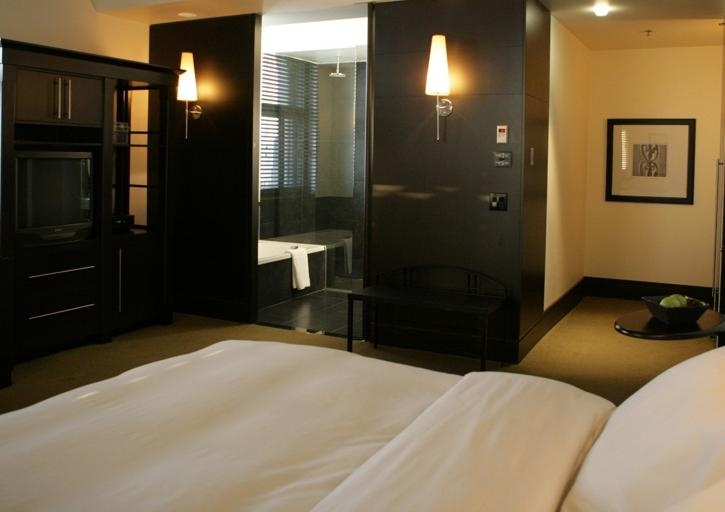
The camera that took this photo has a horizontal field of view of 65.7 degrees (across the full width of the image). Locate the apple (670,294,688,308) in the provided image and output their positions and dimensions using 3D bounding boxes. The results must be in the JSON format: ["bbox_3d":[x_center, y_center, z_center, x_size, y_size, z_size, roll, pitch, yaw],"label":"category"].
[{"bbox_3d":[1.856,0.263,3.299,0.080,0.034,0.084,-4,8,5],"label":"apple"}]

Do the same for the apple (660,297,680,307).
[{"bbox_3d":[1.812,0.262,3.294,0.075,0.032,0.077,-10,7,-10],"label":"apple"}]

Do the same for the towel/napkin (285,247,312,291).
[{"bbox_3d":[-0.663,0.140,5.972,0.267,0.390,0.114,-6,12,-21],"label":"towel/napkin"}]

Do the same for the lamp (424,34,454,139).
[{"bbox_3d":[0.627,-1.383,4.637,0.235,0.859,0.216,2,11,7],"label":"lamp"}]

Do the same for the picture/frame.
[{"bbox_3d":[3.341,-1.105,6.455,0.955,1.061,0.074,3,4,29],"label":"picture/frame"}]
